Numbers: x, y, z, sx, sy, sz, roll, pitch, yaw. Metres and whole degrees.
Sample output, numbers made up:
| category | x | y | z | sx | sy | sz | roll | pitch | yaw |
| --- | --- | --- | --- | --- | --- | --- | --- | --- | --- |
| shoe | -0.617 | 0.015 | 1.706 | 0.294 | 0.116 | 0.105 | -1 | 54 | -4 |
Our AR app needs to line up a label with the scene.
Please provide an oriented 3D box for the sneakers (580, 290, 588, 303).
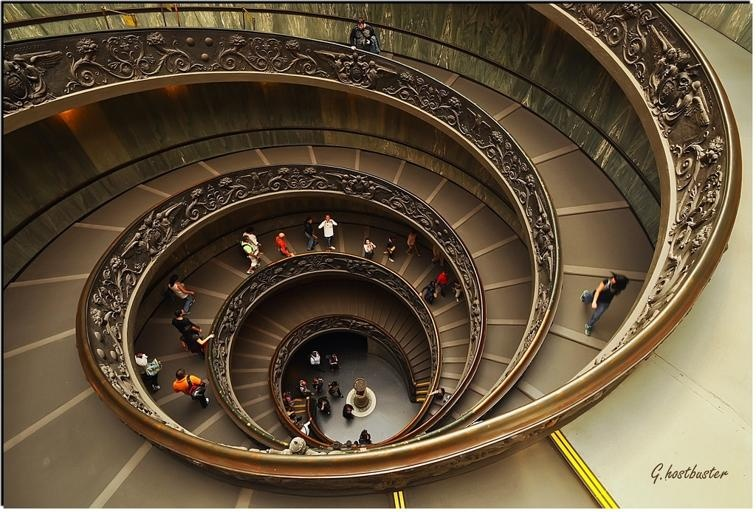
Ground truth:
| category | x | y | z | sx | sy | sz | roll | pitch | yaw |
| --- | --- | --- | --- | --- | --- | --- | --- | --- | --- |
| sneakers | 4.735 | 0.919 | 11.356 | 0.113 | 0.148 | 0.351 | 22 | -96 | 13 |

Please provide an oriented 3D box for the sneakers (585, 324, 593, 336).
| category | x | y | z | sx | sy | sz | roll | pitch | yaw |
| --- | --- | --- | --- | --- | --- | --- | --- | --- | --- |
| sneakers | 4.681 | 1.638 | 11.058 | 0.113 | 0.132 | 0.298 | 3 | -106 | -4 |

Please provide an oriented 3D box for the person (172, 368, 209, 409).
| category | x | y | z | sx | sy | sz | roll | pitch | yaw |
| --- | --- | --- | --- | --- | --- | --- | --- | --- | --- |
| person | -5.077 | 3.600 | 13.644 | 0.727 | 0.821 | 1.397 | -4 | -63 | -12 |

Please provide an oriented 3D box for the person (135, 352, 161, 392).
| category | x | y | z | sx | sy | sz | roll | pitch | yaw |
| --- | --- | --- | --- | --- | --- | --- | --- | --- | --- |
| person | -6.371 | 3.232 | 13.797 | 0.360 | 1.087 | 0.397 | -30 | -93 | -15 |

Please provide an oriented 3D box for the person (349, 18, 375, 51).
| category | x | y | z | sx | sy | sz | roll | pitch | yaw |
| --- | --- | --- | --- | --- | --- | --- | --- | --- | --- |
| person | -0.395 | -6.670 | 15.067 | 0.726 | 0.434 | 0.781 | 7 | -66 | -18 |

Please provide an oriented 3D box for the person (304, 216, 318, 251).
| category | x | y | z | sx | sy | sz | roll | pitch | yaw |
| --- | --- | --- | --- | --- | --- | --- | --- | --- | --- |
| person | -2.438 | -0.786 | 18.132 | 0.418 | 1.195 | 0.467 | -6 | -107 | 1 |

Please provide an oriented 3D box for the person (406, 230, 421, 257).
| category | x | y | z | sx | sy | sz | roll | pitch | yaw |
| --- | --- | --- | --- | --- | --- | --- | --- | --- | --- |
| person | 1.318 | -0.449 | 17.982 | 0.284 | 0.951 | 0.365 | -42 | -105 | -2 |

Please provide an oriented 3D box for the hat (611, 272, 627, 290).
| category | x | y | z | sx | sy | sz | roll | pitch | yaw |
| --- | --- | --- | --- | --- | --- | --- | --- | --- | --- |
| hat | 5.116 | 0.505 | 10.601 | 0.259 | 0.335 | 0.369 | -17 | -130 | 17 |

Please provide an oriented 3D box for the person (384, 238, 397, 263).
| category | x | y | z | sx | sy | sz | roll | pitch | yaw |
| --- | --- | --- | --- | --- | --- | --- | --- | --- | --- |
| person | 0.470 | -0.204 | 18.249 | 0.370 | 0.851 | 0.356 | 2 | -107 | 11 |

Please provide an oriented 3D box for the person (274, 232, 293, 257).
| category | x | y | z | sx | sy | sz | roll | pitch | yaw |
| --- | --- | --- | --- | --- | --- | --- | --- | --- | --- |
| person | -3.399 | -0.396 | 17.965 | 0.258 | 0.861 | 0.558 | -26 | -85 | -5 |
